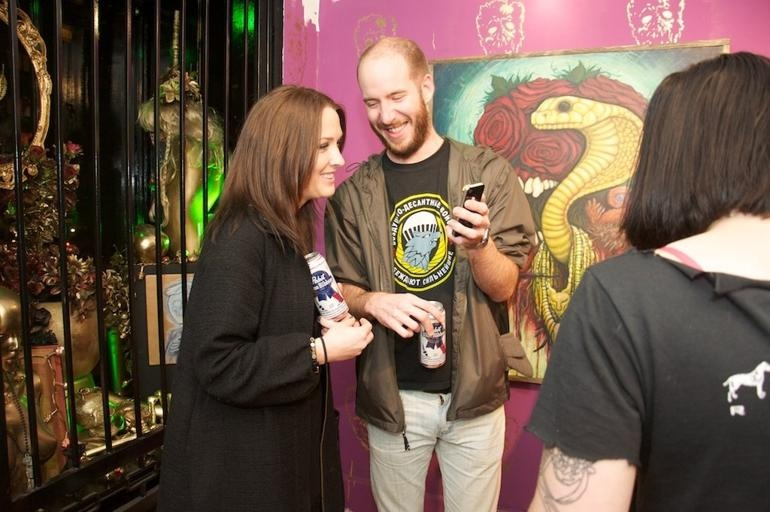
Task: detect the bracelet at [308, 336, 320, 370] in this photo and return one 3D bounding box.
[{"bbox_3d":[-0.233,0.327,2.012,0.024,0.086,0.070,-9,4,5],"label":"bracelet"}]

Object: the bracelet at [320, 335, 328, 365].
[{"bbox_3d":[-0.205,0.325,2.031,0.015,0.066,0.058,-2,-18,-12],"label":"bracelet"}]

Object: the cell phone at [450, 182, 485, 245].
[{"bbox_3d":[0.309,-0.170,2.223,0.106,0.199,0.087,2,7,7],"label":"cell phone"}]
